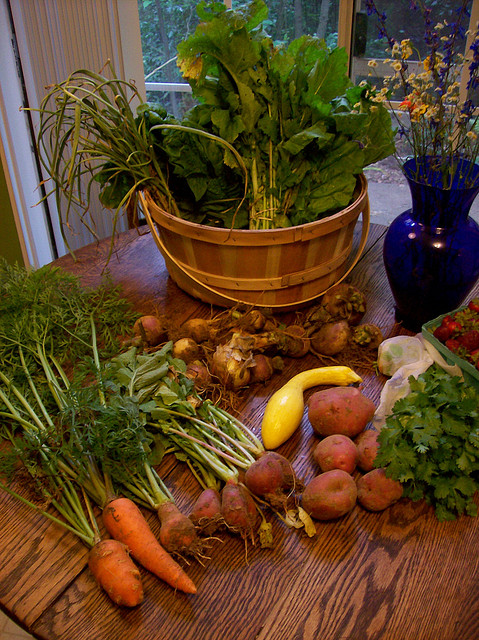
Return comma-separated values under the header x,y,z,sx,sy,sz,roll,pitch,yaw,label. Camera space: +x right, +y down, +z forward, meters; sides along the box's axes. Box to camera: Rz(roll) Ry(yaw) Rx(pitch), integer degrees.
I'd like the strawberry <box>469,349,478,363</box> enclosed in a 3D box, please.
x,y,z,sx,sy,sz,roll,pitch,yaw,label
0.456,0.069,0.969,0.012,0.019,0.023,38,-9,9,strawberry

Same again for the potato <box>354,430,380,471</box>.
x,y,z,sx,sy,sz,roll,pitch,yaw,label
0.226,0.231,0.870,0.050,0.063,0.035,15,-16,-37,potato

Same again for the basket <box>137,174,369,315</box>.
x,y,z,sx,sy,sz,roll,pitch,yaw,label
0.049,-0.215,1.452,0.606,0.380,0.576,7,35,15,basket

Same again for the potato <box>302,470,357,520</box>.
x,y,z,sx,sy,sz,roll,pitch,yaw,label
0.145,0.281,0.782,0.079,0.047,0.070,-7,27,-21,potato

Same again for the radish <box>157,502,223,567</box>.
x,y,z,sx,sy,sz,roll,pitch,yaw,label
-0.093,0.326,0.759,0.112,0.063,0.070,14,33,30,radish

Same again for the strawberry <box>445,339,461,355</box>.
x,y,z,sx,sy,sz,roll,pitch,yaw,label
0.433,0.053,0.997,0.027,0.021,0.020,22,-15,-13,strawberry

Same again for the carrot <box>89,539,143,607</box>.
x,y,z,sx,sy,sz,roll,pitch,yaw,label
-0.173,0.366,0.707,0.059,0.059,0.105,-21,33,-28,carrot

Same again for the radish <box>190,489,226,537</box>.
x,y,z,sx,sy,sz,roll,pitch,yaw,label
-0.044,0.297,0.782,0.066,0.053,0.075,-4,24,-2,radish

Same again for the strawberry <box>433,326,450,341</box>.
x,y,z,sx,sy,sz,roll,pitch,yaw,label
0.423,0.029,1.031,0.027,0.032,0.027,0,2,25,strawberry

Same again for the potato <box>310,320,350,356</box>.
x,y,z,sx,sy,sz,roll,pitch,yaw,label
0.211,0.043,1.135,0.052,0.068,0.092,9,-29,-45,potato

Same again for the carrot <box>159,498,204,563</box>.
x,y,z,sx,sy,sz,roll,pitch,yaw,label
-0.093,0.319,0.776,0.036,0.037,0.108,-15,39,-17,carrot
